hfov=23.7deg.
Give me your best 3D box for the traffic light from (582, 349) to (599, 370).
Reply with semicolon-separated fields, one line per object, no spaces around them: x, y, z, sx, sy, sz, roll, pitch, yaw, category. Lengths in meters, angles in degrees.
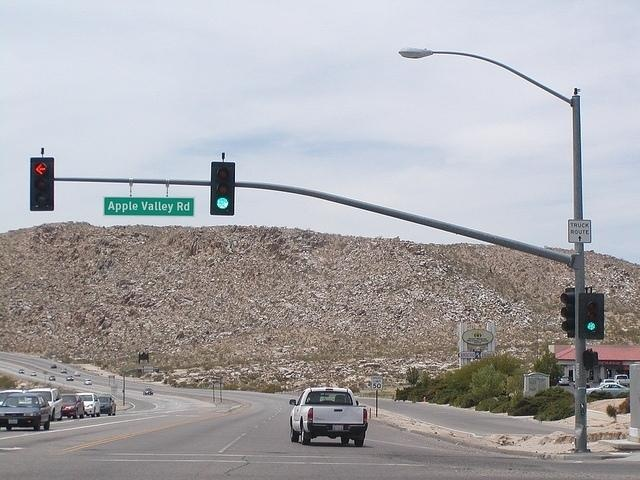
21.580;9.764;121.949;1.178;1.576;1.030;-1;-10;-8;traffic light
